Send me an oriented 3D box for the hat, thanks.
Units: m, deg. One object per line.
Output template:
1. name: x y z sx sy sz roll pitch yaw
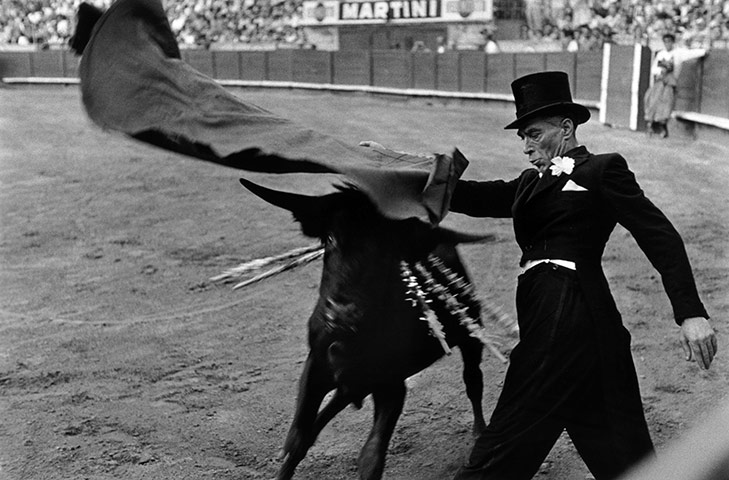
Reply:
1. hat: 0.721 -0.564 3.118 0.359 0.166 0.296 -5 -2 -20
